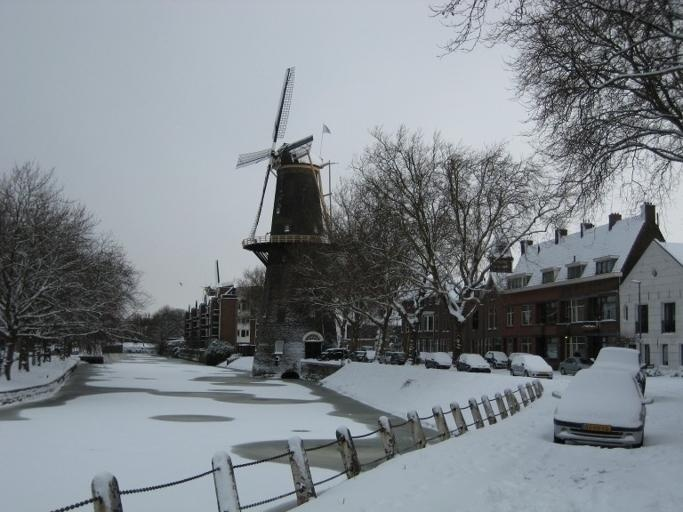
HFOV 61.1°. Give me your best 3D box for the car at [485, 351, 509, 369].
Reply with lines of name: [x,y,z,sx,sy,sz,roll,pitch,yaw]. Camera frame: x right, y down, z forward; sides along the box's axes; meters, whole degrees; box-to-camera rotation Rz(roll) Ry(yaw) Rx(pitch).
car: [14.656,9.832,54.209,1.047,1.098,2.053,2,-13,-13]

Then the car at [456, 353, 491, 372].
car: [9.954,8.081,43.688,1.408,1.344,2.767,2,-17,-10]

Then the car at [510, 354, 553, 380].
car: [13.031,7.582,39.680,2.298,1.620,3.216,-2,-10,11]

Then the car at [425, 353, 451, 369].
car: [8.633,9.256,51.229,1.276,1.062,2.276,2,-16,-14]

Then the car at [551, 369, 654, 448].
car: [7.365,4.331,16.634,2.299,2.023,2.057,-4,-10,24]
